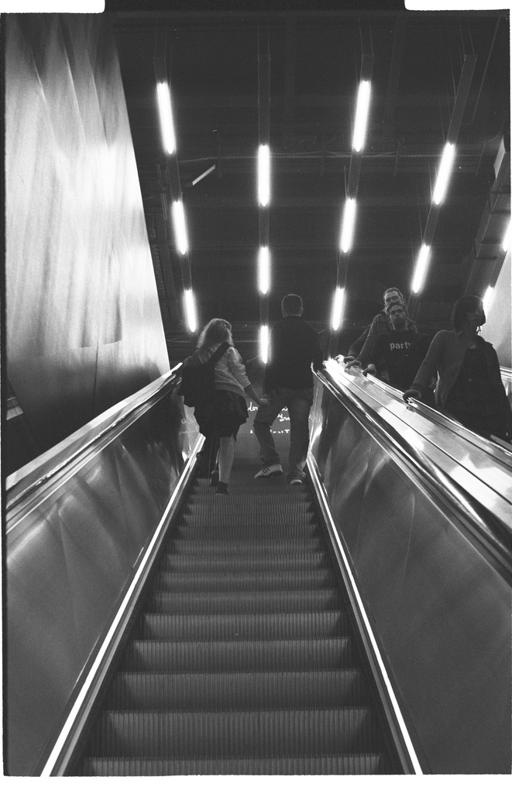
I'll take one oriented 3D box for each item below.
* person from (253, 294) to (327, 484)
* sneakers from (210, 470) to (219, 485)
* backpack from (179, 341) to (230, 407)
[{"bbox_3d":[0.333,-0.040,4.727,0.524,2.141,0.634,-2,-21,18],"label":"person"},{"bbox_3d":[-0.420,0.813,4.379,0.084,0.214,0.105,1,-27,-2],"label":"sneakers"},{"bbox_3d":[-0.552,-0.184,4.373,0.331,0.732,0.632,2,-13,18],"label":"backpack"}]
